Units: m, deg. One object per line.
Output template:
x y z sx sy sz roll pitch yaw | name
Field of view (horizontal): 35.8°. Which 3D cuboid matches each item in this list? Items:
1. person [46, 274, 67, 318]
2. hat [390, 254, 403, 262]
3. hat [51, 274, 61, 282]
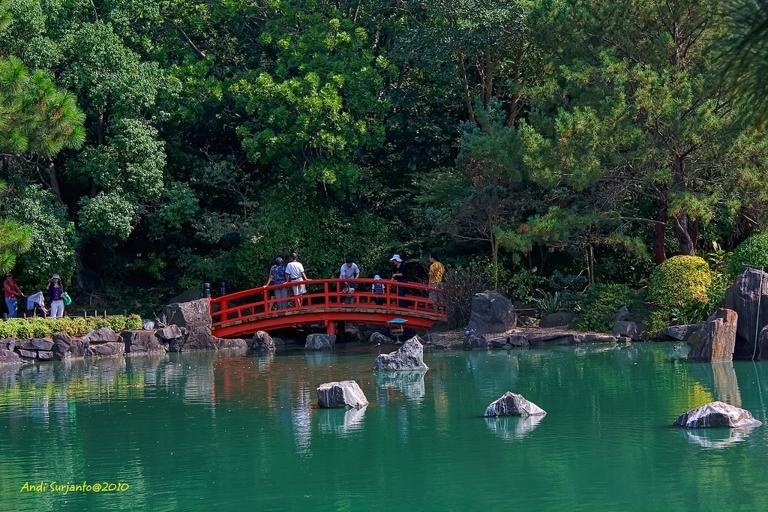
-11.119 1.323 40.258 0.549 1.574 3.283 -3 9 -16 | person
0.471 0.066 40.396 0.285 0.160 0.291 7 -3 -3 | hat
-11.002 0.724 39.650 0.321 0.155 0.428 0 -2 -10 | hat
